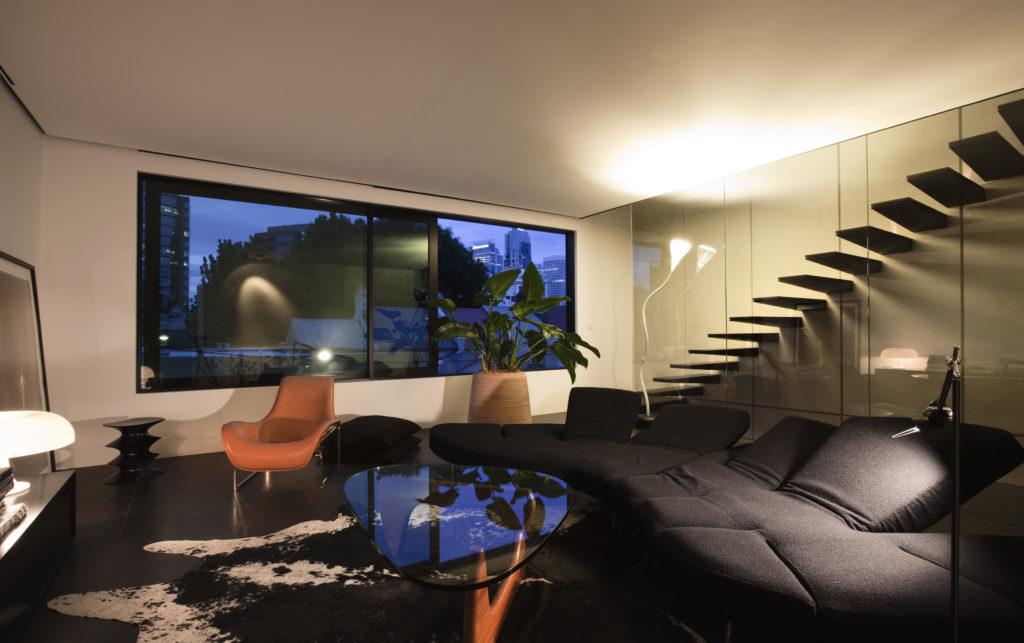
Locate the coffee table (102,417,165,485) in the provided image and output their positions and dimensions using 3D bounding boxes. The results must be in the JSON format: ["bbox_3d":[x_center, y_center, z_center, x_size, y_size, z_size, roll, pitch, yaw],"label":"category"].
[{"bbox_3d":[-3.487,1.193,6.321,0.565,0.519,0.557,2,1,30],"label":"coffee table"}]

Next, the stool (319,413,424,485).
[{"bbox_3d":[-1.488,1.253,6.584,0.678,0.309,0.654,-7,-1,17],"label":"stool"}]

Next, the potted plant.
[{"bbox_3d":[-0.042,0.333,8.275,2.061,1.912,1.969,1,-6,-3],"label":"potted plant"}]

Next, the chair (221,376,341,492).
[{"bbox_3d":[-2.152,1.025,6.238,0.937,0.836,1.058,-1,-1,9],"label":"chair"}]

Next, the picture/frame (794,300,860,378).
[{"bbox_3d":[3.007,0.164,6.331,0.048,0.986,0.771,0,1,-42],"label":"picture/frame"}]
